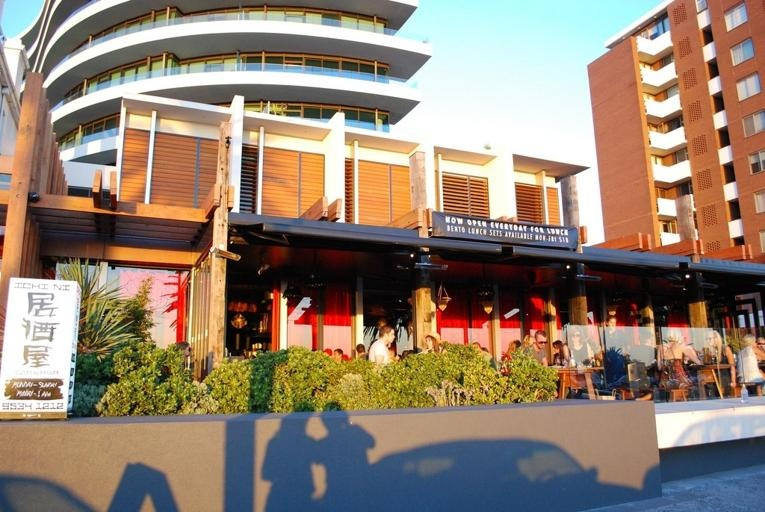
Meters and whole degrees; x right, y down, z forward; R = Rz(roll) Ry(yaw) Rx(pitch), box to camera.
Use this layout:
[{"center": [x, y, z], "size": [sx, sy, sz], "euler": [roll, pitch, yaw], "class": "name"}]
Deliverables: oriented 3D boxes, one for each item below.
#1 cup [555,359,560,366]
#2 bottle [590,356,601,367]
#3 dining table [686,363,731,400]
[{"center": [3.831, 2.319, 13.281], "size": [0.109, 0.177, 0.114], "euler": [-2, -2, 0], "class": "cup"}, {"center": [4.346, 2.150, 12.404], "size": [0.226, 0.224, 0.068], "euler": [1, -14, -11], "class": "bottle"}, {"center": [7.190, 2.858, 13.397], "size": [0.924, 0.774, 1.009], "euler": [-10, -7, 8], "class": "dining table"}]
